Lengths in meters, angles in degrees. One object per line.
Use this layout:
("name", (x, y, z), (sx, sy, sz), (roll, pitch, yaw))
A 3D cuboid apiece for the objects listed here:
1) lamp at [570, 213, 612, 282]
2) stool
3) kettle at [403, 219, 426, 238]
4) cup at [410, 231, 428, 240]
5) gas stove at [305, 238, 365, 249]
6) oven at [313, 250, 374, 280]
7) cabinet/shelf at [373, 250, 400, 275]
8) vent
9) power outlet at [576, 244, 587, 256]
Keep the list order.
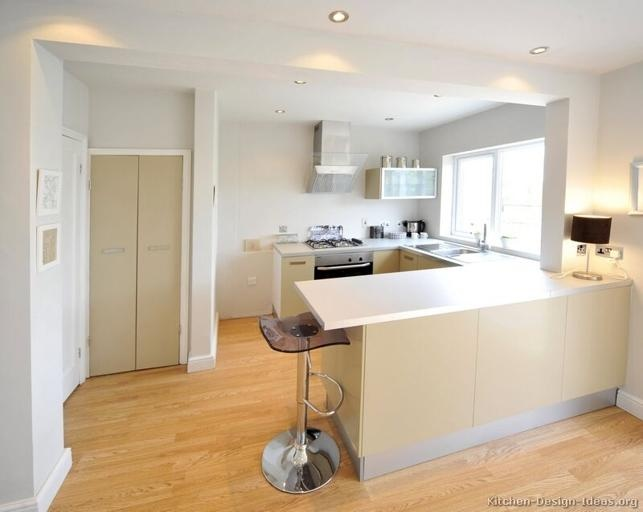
("lamp", (2.080, -0.081, 3.783), (0.273, 0.475, 0.357), (7, 13, 40))
("stool", (-0.127, 0.923, 3.283), (0.609, 1.037, 0.648), (-3, 10, -9))
("kettle", (1.182, -0.345, 6.172), (0.258, 0.208, 0.186), (3, 6, 20))
("cup", (1.212, -0.247, 5.996), (0.145, 0.056, 0.105), (-2, 11, -5))
("gas stove", (0.147, -0.150, 5.633), (0.671, 0.033, 0.584), (-6, 11, -21))
("oven", (0.235, 0.083, 5.314), (0.478, 0.350, 0.324), (-4, 9, -21))
("cabinet/shelf", (0.741, 0.032, 5.620), (0.363, 0.373, 0.240), (-3, 5, -24))
("vent", (0.165, -1.091, 5.487), (0.652, 0.815, 0.670), (4, 10, 19))
("power outlet", (2.095, -0.056, 3.916), (0.093, 0.133, 0.014), (0, 2, 10))
